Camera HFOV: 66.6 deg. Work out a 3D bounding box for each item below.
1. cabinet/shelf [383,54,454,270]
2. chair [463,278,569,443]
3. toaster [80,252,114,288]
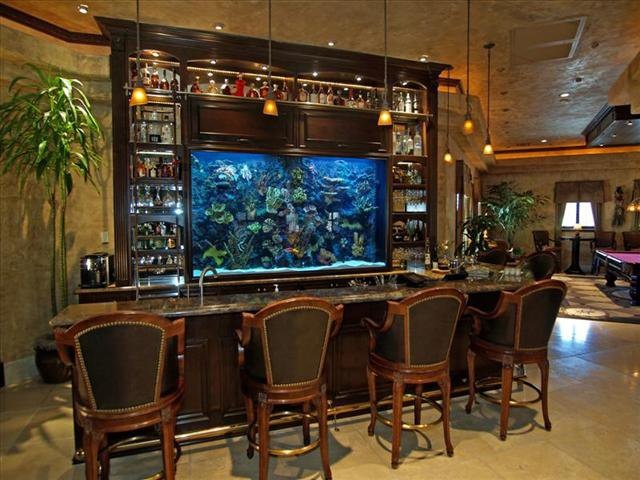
[{"bbox_3d":[1.540,-1.308,7.223,0.414,2.034,0.643,-13,5,3],"label":"cabinet/shelf"},{"bbox_3d":[1.928,1.114,4.833,0.897,1.512,0.718,1,5,16],"label":"chair"},{"bbox_3d":[-2.755,0.382,5.980,0.348,0.425,0.458,0,4,-8],"label":"toaster"}]
